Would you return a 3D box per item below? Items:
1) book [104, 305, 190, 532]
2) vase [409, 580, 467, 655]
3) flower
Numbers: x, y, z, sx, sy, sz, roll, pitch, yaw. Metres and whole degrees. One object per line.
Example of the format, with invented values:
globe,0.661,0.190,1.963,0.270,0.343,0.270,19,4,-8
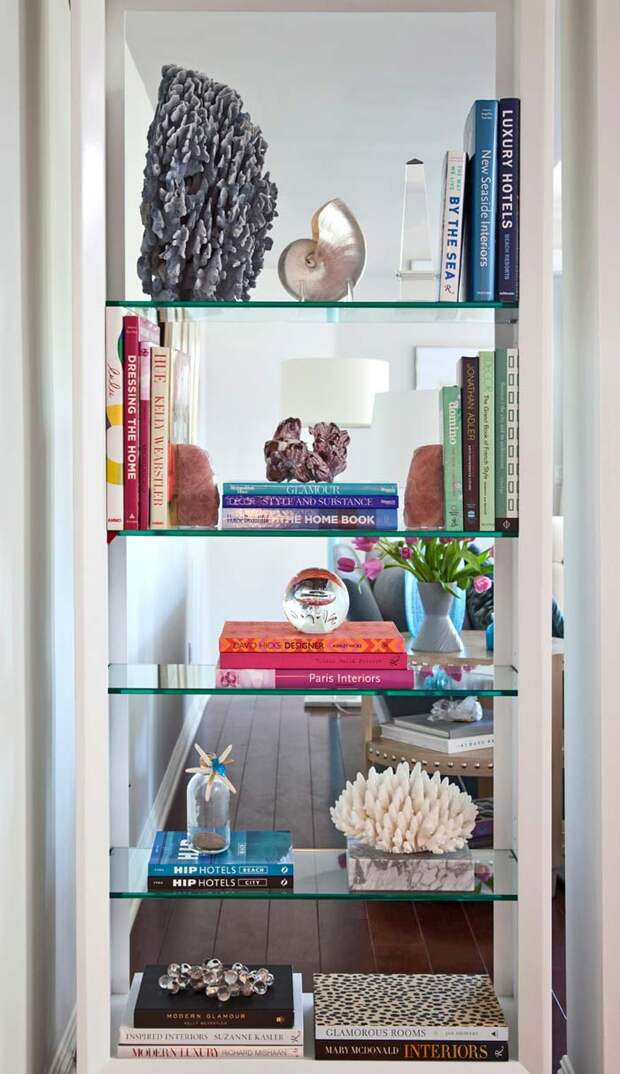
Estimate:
book,-0.242,-0.161,1.217,0.072,0.287,0.247,1,16,-4
vase,0.238,0.141,1.536,0.098,0.131,0.099,-3,-5,27
flower,0.251,0.084,1.997,0.192,0.130,0.212,3,-7,-22
